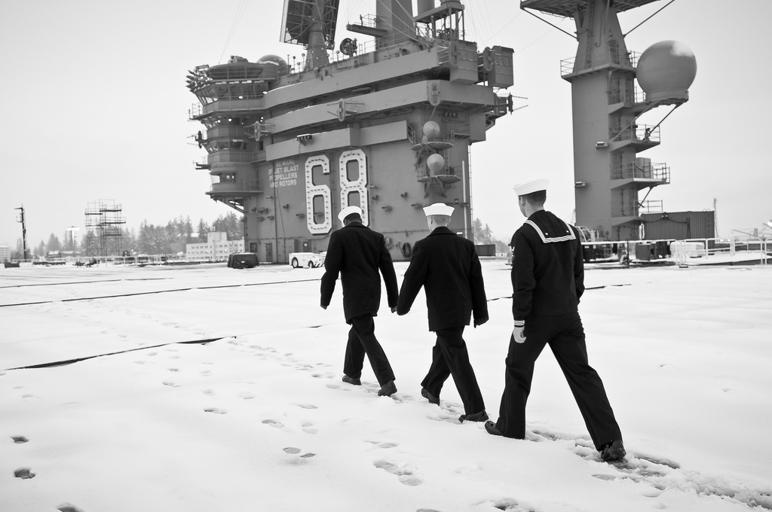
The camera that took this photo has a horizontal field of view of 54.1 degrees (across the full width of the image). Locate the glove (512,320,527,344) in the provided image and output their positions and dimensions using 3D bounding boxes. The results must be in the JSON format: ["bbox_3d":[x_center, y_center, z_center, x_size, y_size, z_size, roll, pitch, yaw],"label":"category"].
[{"bbox_3d":[1.766,1.006,10.014,0.110,0.297,0.197,3,-3,-5],"label":"glove"}]
